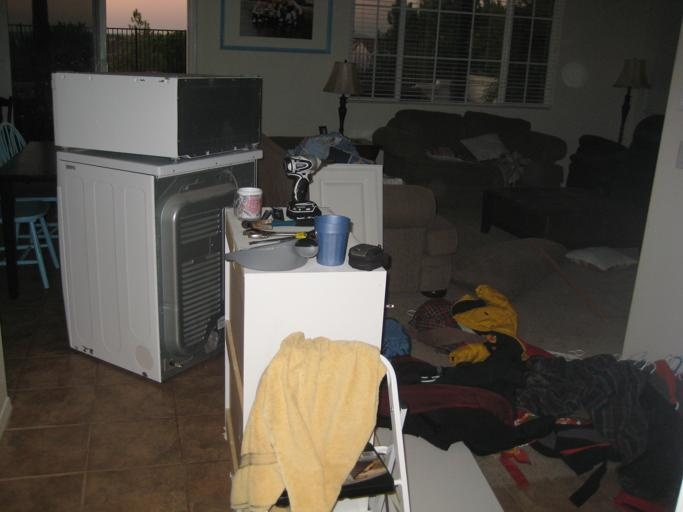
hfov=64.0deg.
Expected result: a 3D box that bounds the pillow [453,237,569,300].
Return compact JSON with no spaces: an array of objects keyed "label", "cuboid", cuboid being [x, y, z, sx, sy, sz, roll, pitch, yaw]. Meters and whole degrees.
[{"label":"pillow","cuboid":[1.379,0.056,4.546,0.854,0.215,1.047,12,21,23]}]

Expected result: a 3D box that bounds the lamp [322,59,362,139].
[{"label":"lamp","cuboid":[-0.011,-1.741,6.093,0.383,0.798,0.596,2,19,-2]}]

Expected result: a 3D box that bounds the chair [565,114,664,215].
[{"label":"chair","cuboid":[2.569,-0.974,4.957,0.654,0.788,0.804,-26,38,-30]}]

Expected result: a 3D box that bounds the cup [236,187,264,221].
[{"label":"cup","cuboid":[-0.380,-0.202,2.168,0.102,0.123,0.135,14,23,20]}]

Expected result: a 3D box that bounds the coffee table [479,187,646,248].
[{"label":"coffee table","cuboid":[1.921,-0.471,4.882,0.780,0.364,0.750,-4,16,-14]}]

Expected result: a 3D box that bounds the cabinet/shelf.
[{"label":"cabinet/shelf","cuboid":[-0.125,0.277,1.767,0.351,0.858,0.842,0,26,-8]}]

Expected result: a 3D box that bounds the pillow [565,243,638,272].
[{"label":"pillow","cuboid":[2.302,0.017,4.717,0.783,0.099,0.334,-3,20,-16]}]

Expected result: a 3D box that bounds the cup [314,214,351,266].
[{"label":"cup","cuboid":[-0.029,-0.050,1.856,0.145,0.172,0.147,2,19,-1]}]
